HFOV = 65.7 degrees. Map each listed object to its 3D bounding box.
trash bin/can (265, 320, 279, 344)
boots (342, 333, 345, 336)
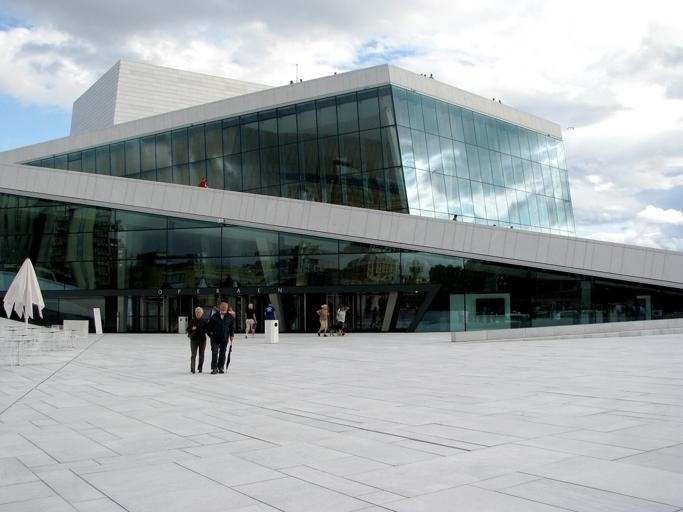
[{"bbox_3d":[-3.479,3.880,26.803,0.492,1.120,0.872,7,-7,-41],"label":"trash bin/can"},{"bbox_3d":[0.131,4.723,31.388,0.281,0.124,0.372,0,-2,1],"label":"boots"}]
